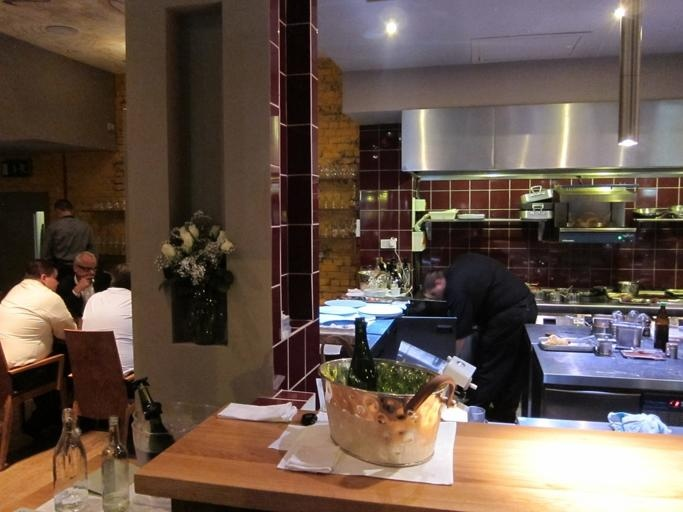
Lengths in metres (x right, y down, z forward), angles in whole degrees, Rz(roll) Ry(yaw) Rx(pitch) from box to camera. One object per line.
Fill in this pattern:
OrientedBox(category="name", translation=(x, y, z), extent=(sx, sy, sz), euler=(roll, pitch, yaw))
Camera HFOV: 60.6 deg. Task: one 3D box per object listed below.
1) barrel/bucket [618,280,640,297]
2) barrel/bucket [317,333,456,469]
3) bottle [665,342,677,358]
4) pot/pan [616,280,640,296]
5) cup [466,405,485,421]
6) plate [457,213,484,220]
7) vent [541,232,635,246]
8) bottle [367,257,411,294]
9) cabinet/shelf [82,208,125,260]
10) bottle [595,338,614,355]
OrientedBox(category="barrel/bucket", translation=(2.708, 0.309, 5.512), extent=(0.115, 0.108, 0.156), euler=(-2, -3, 36))
OrientedBox(category="barrel/bucket", translation=(0.156, 0.552, 2.098), extent=(0.502, 0.258, 0.409), euler=(6, 8, 30))
OrientedBox(category="bottle", translation=(2.032, 0.580, 3.594), extent=(0.075, 0.077, 0.077), euler=(0, 2, 1))
OrientedBox(category="pot/pan", translation=(2.714, 0.301, 5.524), extent=(0.118, 0.103, 0.153), euler=(0, -4, 11))
OrientedBox(category="cup", translation=(0.573, 0.662, 2.485), extent=(0.057, 0.071, 0.072), euler=(0, -3, -15))
OrientedBox(category="plate", translation=(1.275, -0.374, 5.720), extent=(0.251, 0.085, 0.382), euler=(2, 9, 15))
OrientedBox(category="vent", translation=(2.267, -0.182, 5.405), extent=(0.707, 0.184, 0.461), euler=(1, 9, 7))
OrientedBox(category="bottle", translation=(0.462, 0.183, 5.377), extent=(0.318, 0.240, 0.342), euler=(1, -3, 0))
OrientedBox(category="cabinet/shelf", translation=(-2.798, -0.253, 6.909), extent=(0.582, 0.551, 0.192), euler=(-2, -7, 7))
OrientedBox(category="bottle", translation=(1.668, 0.584, 3.707), extent=(0.126, 0.103, 0.091), euler=(2, 7, 16))
